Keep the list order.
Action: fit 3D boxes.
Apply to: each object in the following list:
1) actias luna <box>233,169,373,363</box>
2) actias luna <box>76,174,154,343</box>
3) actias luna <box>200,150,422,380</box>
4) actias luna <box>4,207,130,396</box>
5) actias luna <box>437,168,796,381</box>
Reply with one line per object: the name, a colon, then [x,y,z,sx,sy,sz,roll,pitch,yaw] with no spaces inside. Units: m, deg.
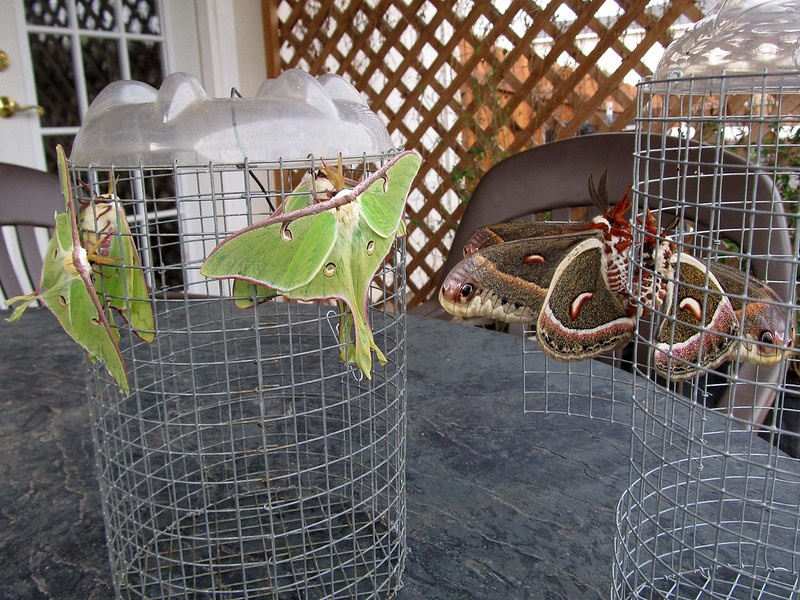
actias luna: [-0.150,-0.045,0.754,0.200,0.138,0.242,-18,12,-37]
actias luna: [-0.282,-0.031,0.689,0.058,0.173,0.053,-18,-2,-21]
actias luna: [-0.088,-0.066,0.645,0.193,0.219,0.132,-10,28,-29]
actias luna: [-0.308,0.001,0.653,0.141,0.157,0.034,10,16,36]
actias luna: [0.319,-0.033,1.007,0.321,0.200,0.253,18,-18,9]
